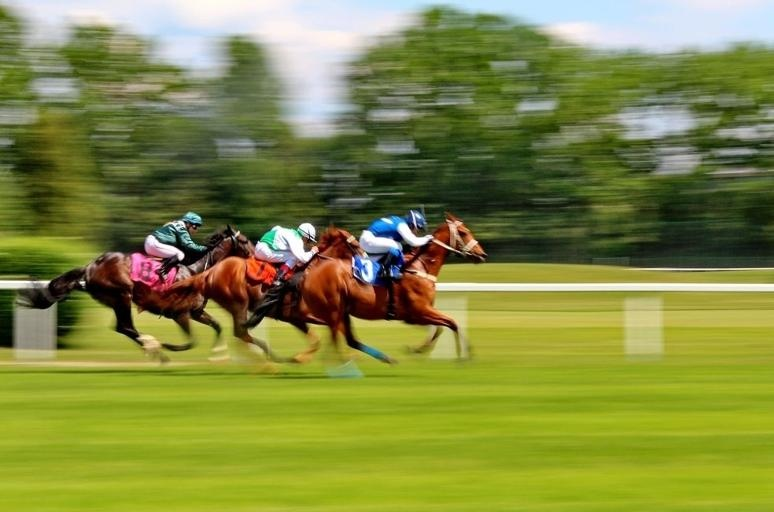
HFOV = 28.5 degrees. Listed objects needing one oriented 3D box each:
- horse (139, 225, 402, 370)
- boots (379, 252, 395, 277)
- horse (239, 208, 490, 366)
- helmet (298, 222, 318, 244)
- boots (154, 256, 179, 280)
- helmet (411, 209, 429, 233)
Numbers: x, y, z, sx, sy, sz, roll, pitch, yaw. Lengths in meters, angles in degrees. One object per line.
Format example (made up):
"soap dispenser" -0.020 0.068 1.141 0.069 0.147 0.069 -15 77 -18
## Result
"horse" -2.005 0.750 26.274 5.651 2.162 1.166 1 12 37
"boots" 0.054 0.156 26.026 0.372 0.437 0.172 0 4 7
"horse" -0.025 0.636 26.467 4.714 2.376 1.182 -2 7 45
"helmet" -1.316 -0.396 26.371 0.452 0.233 0.268 26 19 -17
"boots" -3.806 0.217 26.544 0.528 0.320 0.128 -40 -7 -48
"helmet" 0.509 -0.615 26.226 0.261 0.349 0.326 -22 7 22
